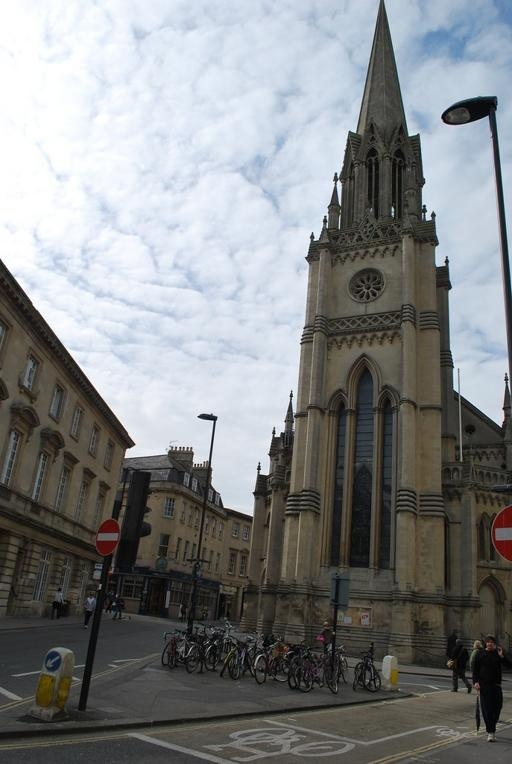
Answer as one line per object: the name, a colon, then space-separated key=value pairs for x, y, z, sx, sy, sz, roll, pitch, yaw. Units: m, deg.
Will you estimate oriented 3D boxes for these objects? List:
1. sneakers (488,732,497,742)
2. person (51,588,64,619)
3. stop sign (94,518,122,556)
sneakers: x=3.495 y=5.232 z=7.836 sx=0.120 sy=0.154 sz=0.334 roll=-9 pitch=-38 yaw=15
person: x=-10.578 y=11.723 z=28.040 sx=0.589 sy=1.371 sz=2.034 roll=13 pitch=-22 yaw=-14
stop sign: x=-2.095 y=2.193 z=7.555 sx=0.254 sy=0.540 sz=0.723 roll=19 pitch=-24 yaw=-27
